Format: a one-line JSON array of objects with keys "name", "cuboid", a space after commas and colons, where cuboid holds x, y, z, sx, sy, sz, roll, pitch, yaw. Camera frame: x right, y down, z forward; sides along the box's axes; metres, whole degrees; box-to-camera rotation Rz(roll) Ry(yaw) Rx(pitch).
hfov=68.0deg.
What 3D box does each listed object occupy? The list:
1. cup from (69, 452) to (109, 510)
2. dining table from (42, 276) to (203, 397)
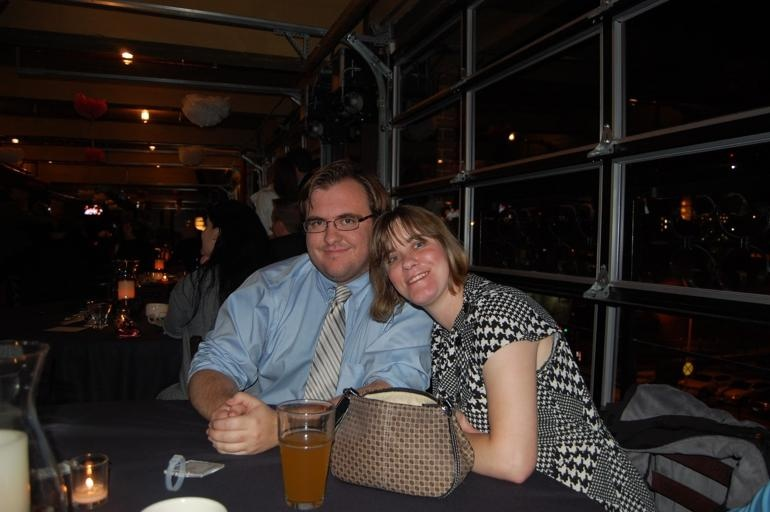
[{"name": "cup", "cuboid": [-0.998, 0.750, 1.979, 0.147, 0.173, 0.151, 4, 7, 0]}, {"name": "dining table", "cuboid": [-1.813, 0.537, 3.981, 0.785, 0.800, 0.815, 3, -3, -17]}]
